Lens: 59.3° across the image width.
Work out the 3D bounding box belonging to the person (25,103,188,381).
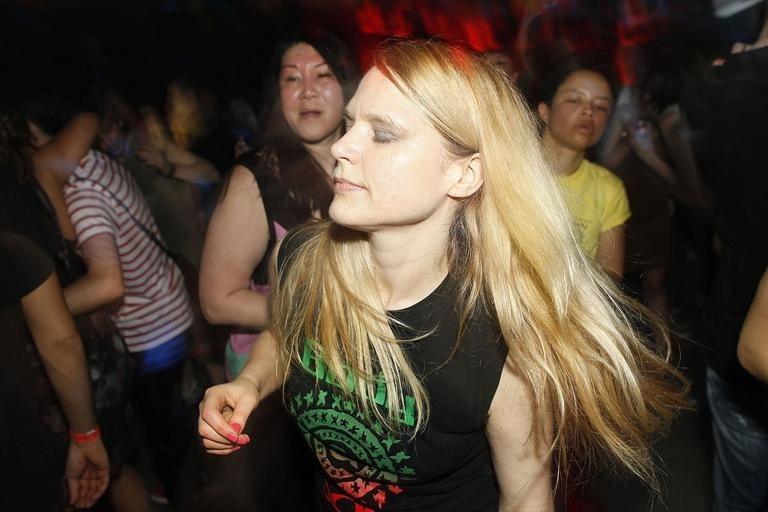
[{"bbox_3d":[-1.347,-0.107,3.204,0.472,1.364,0.567,7,42,10],"label":"person"}]
